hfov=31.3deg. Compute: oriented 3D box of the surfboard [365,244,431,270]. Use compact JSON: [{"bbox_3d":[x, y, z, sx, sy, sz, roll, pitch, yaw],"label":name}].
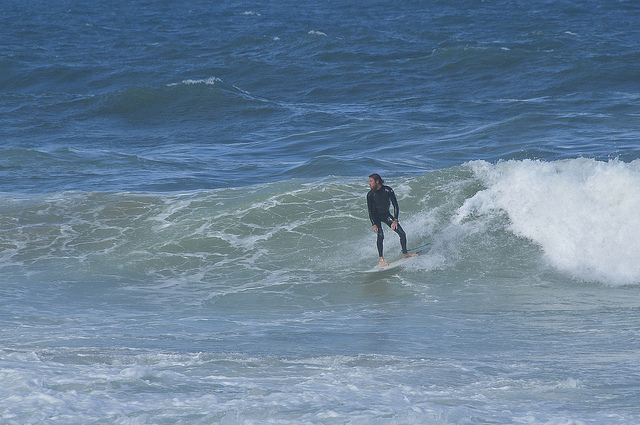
[{"bbox_3d":[3.106,1.904,44.811,3.954,0.199,0.496,-17,14,-13],"label":"surfboard"}]
